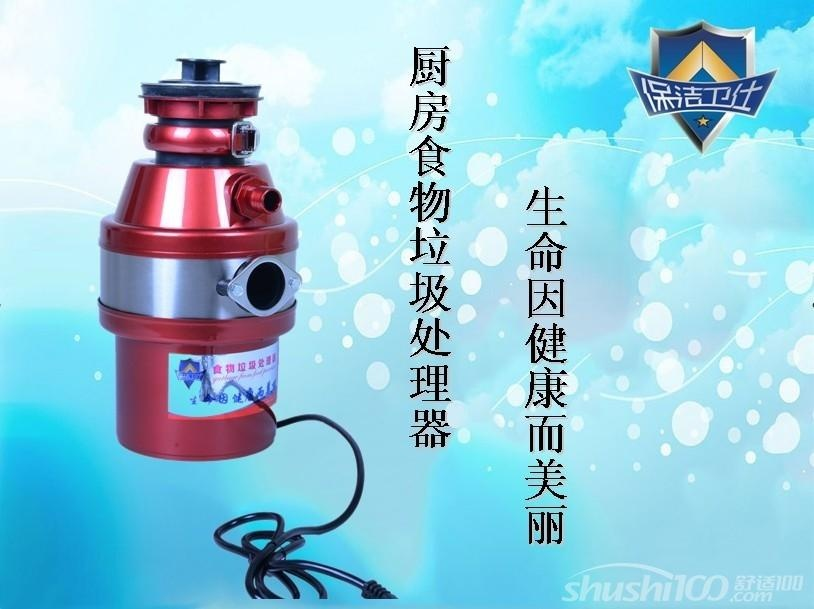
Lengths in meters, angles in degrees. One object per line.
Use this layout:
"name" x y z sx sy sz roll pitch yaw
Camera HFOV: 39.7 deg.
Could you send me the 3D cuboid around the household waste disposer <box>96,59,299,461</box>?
"household waste disposer" -0.428 -0.083 2.345 0.415 0.802 0.374 3 -12 -14
